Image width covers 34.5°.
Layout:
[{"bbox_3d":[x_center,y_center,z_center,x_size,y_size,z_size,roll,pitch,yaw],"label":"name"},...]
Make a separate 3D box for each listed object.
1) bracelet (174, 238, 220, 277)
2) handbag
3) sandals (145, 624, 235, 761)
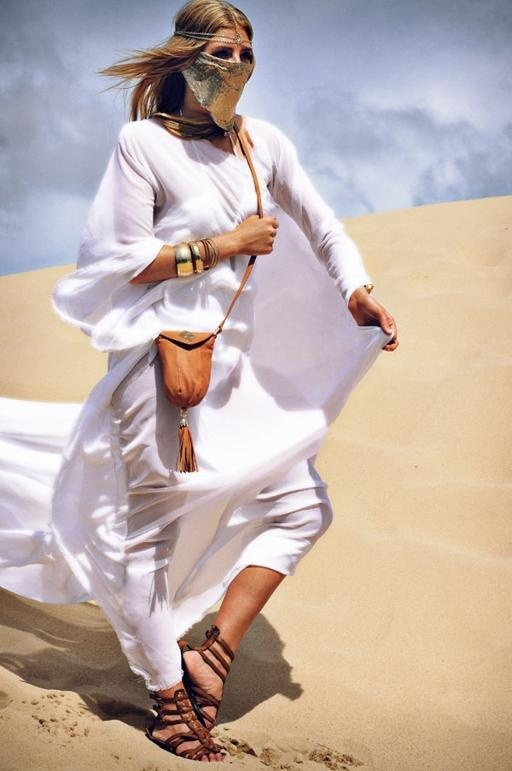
[{"bbox_3d":[-0.187,-0.381,2.512,0.148,0.088,0.099,-8,38,-1],"label":"bracelet"},{"bbox_3d":[-0.240,0.040,2.453,0.178,0.326,0.199,9,3,-7],"label":"handbag"},{"bbox_3d":[-0.203,0.902,2.432,0.156,0.360,0.153,9,-38,-31],"label":"sandals"}]
